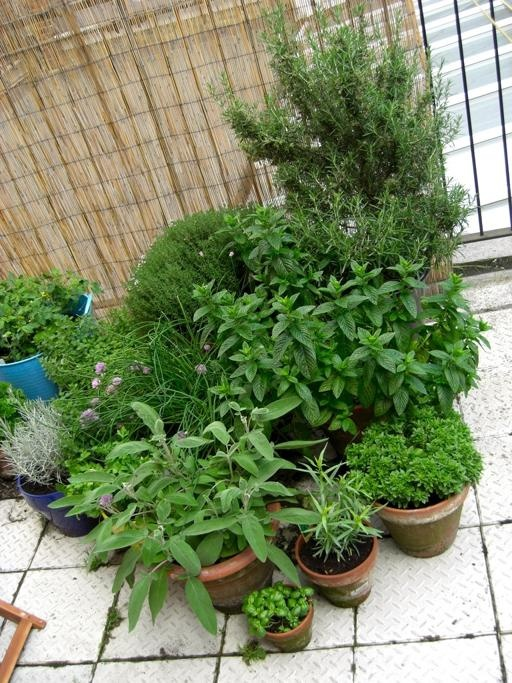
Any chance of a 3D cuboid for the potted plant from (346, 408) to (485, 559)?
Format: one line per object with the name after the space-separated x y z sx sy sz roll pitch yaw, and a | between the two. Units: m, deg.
0.636 0.615 1.976 0.422 0.383 0.383 -5 10 35 | potted plant
